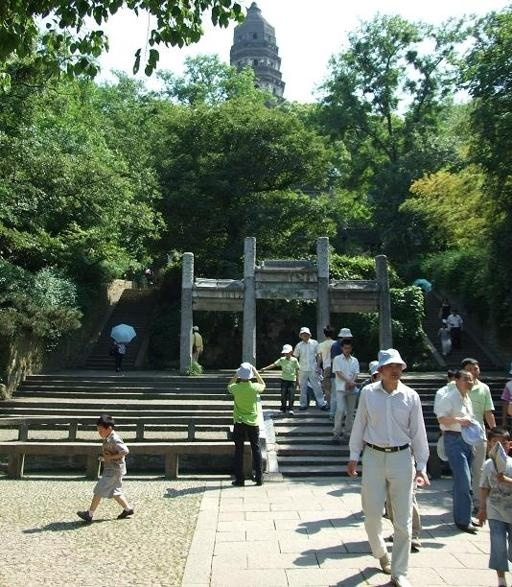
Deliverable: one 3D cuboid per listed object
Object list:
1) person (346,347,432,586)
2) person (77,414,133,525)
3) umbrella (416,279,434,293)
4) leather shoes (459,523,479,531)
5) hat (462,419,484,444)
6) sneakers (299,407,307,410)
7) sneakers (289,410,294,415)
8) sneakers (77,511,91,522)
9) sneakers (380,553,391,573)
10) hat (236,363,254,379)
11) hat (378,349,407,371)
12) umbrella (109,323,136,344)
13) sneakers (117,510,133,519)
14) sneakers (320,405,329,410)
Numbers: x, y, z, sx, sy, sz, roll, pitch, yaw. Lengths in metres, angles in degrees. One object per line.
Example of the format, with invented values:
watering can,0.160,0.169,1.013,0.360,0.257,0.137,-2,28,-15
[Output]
person,1.121,1.492,5.308,0.685,1.989,0.577,2,-2,19
person,-1.810,2.125,7.525,0.655,1.302,0.638,3,-2,-9
umbrella,8.793,-0.454,32.032,0.799,0.720,1.821,1,-2,17
leather shoes,2.362,2.605,6.787,0.202,0.069,0.065,0,2,5
hat,2.471,1.590,6.999,0.143,0.235,0.256,19,-18,45
sneakers,1.044,2.527,13.511,0.109,0.049,0.128,1,-5,12
sneakers,0.762,2.575,13.204,0.068,0.070,0.180,1,6,1
sneakers,-2.024,2.641,7.239,0.172,0.136,0.232,2,-2,-12
sneakers,1.150,2.377,5.445,0.092,0.058,0.224,3,28,4
hat,-0.168,1.161,9.255,0.249,0.104,0.322,-1,7,-4
hat,1.241,0.598,5.500,0.210,0.116,0.254,3,6,39
umbrella,-4.810,1.410,22.180,0.900,0.776,0.568,15,-23,-12
sneakers,-1.586,2.687,7.424,0.257,0.089,0.079,-4,6,8
sneakers,1.523,2.508,13.454,0.161,0.125,0.104,5,24,8
